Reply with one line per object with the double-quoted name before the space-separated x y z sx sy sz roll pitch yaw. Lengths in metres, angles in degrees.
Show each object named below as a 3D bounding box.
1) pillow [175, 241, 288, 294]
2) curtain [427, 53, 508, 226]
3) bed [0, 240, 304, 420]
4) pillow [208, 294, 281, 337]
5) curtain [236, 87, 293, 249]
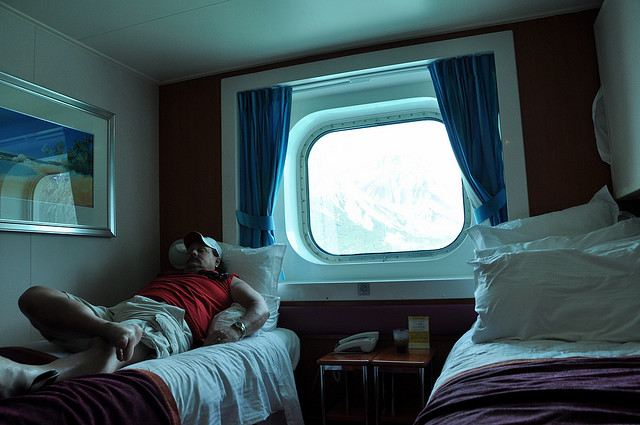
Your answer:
"pillow" -0.781 0.479 3.886 0.493 0.327 0.110 4 -33 11
"curtain" 1.368 -0.815 3.949 0.603 1.706 0.220 -6 -31 12
"bed" -0.901 0.718 3.030 1.302 1.068 1.837 -1 -4 12
"pillow" -0.605 0.917 3.682 0.547 0.161 0.607 9 -31 -36
"curtain" -0.527 -0.435 4.309 0.589 1.253 0.172 -4 -1 -2
